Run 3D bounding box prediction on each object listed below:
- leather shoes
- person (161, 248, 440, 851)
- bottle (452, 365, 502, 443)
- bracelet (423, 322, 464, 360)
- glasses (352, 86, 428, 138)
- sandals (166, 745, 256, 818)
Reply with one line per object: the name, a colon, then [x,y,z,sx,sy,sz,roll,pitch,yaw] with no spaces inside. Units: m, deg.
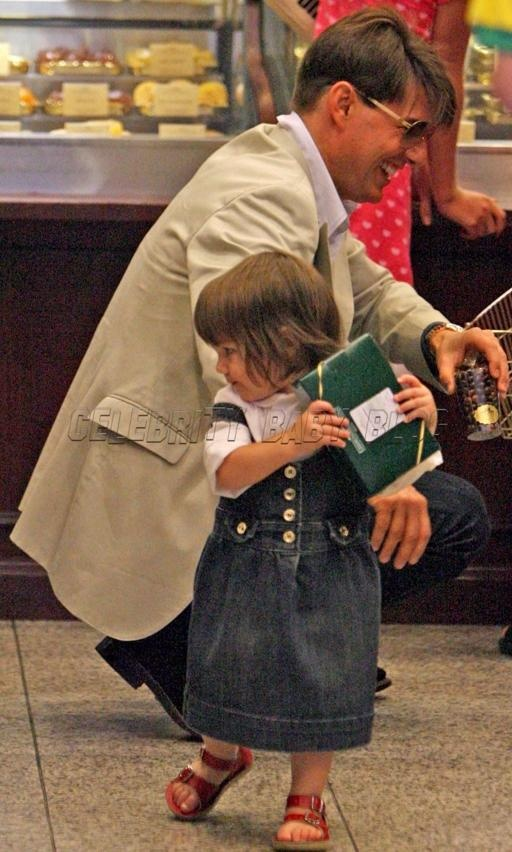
leather shoes: [-0.214,0.463,1.446,0.209,0.171,0.153,0,10,-14]
person: [0.050,0.184,0.979,0.343,0.778,0.287,-1,22,-7]
bottle: [0.350,-0.032,1.206,0.056,0.126,0.098,-8,24,-22]
bracelet: [0.321,-0.140,1.305,0.062,0.078,0.025,-13,-13,-37]
glasses: [0.209,-0.480,1.211,0.095,0.027,0.071,34,3,-6]
sandals: [-0.061,0.504,1.129,0.141,0.058,0.058,-36,59,-20]
